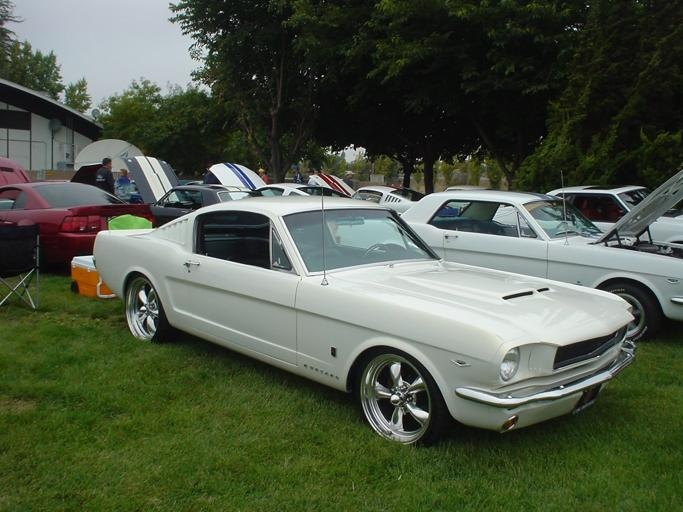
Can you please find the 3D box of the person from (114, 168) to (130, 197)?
[{"bbox_3d":[-5.856,-1.883,13.963,0.211,0.876,0.482,3,1,26],"label":"person"}]

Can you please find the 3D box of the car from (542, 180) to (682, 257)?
[{"bbox_3d":[5.046,-0.893,9.717,2.468,1.221,1.582,1,7,32],"label":"car"}]

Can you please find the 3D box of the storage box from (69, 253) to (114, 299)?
[{"bbox_3d":[-3.768,0.353,8.175,0.732,0.570,0.577,-2,-4,34],"label":"storage box"}]
